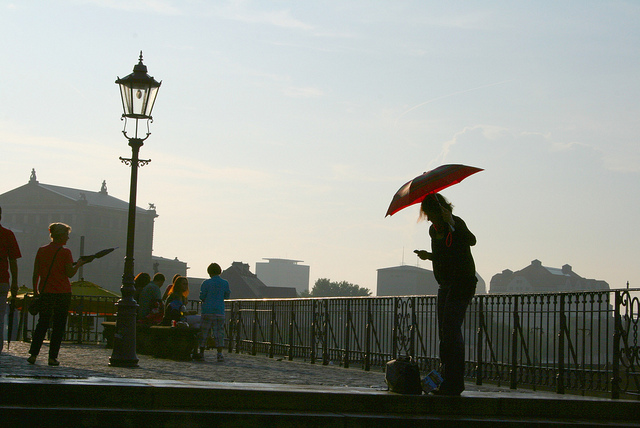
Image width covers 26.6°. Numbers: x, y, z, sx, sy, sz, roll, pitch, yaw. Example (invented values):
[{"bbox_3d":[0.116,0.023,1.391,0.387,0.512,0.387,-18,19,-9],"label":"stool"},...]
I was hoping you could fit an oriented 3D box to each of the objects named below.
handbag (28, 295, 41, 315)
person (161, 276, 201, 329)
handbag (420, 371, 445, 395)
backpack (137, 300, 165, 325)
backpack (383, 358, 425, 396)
[{"bbox_3d":[-6.010,1.912,28.662,0.247,0.372,0.432,4,-12,-11],"label":"handbag"},{"bbox_3d":[-3.375,2.176,32.785,0.774,1.380,0.835,1,1,12],"label":"person"},{"bbox_3d":[2.144,3.211,26.082,0.439,0.401,0.105,-36,-69,16],"label":"handbag"},{"bbox_3d":[-3.988,2.411,32.879,0.524,0.645,0.292,-2,3,-5],"label":"backpack"},{"bbox_3d":[1.626,3.093,25.989,0.728,0.709,0.421,1,-13,3],"label":"backpack"}]
